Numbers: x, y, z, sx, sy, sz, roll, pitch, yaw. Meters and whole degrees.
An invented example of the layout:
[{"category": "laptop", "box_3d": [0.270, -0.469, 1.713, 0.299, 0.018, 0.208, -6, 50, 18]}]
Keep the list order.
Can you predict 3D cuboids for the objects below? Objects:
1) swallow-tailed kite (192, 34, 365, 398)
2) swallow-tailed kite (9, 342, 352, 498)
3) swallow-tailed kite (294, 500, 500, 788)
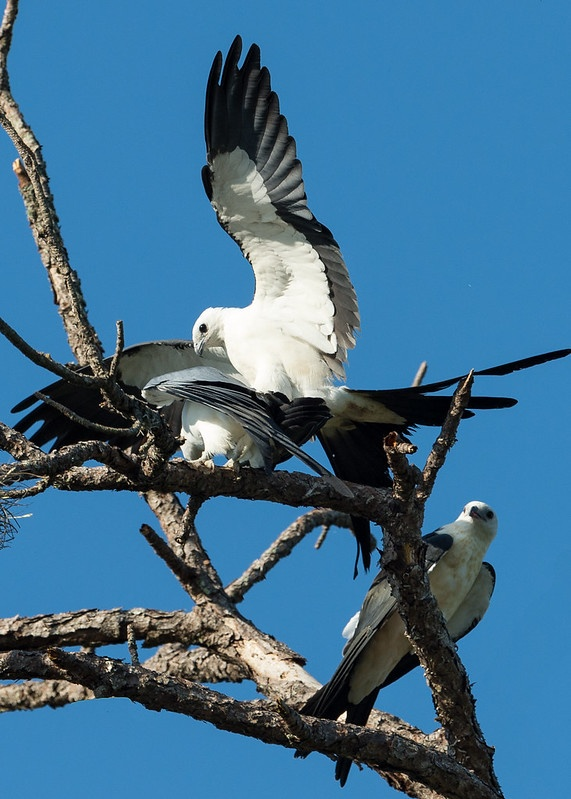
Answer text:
[{"category": "swallow-tailed kite", "box_3d": [-0.055, -0.714, 7.449, 0.581, 1.011, 1.327, -15, -54, 6]}, {"category": "swallow-tailed kite", "box_3d": [-0.447, 0.014, 7.180, 0.734, 0.418, 1.160, -25, -34, 34]}, {"category": "swallow-tailed kite", "box_3d": [0.508, 1.031, 7.192, 1.043, 1.710, 0.631, 10, -65, -10]}]
